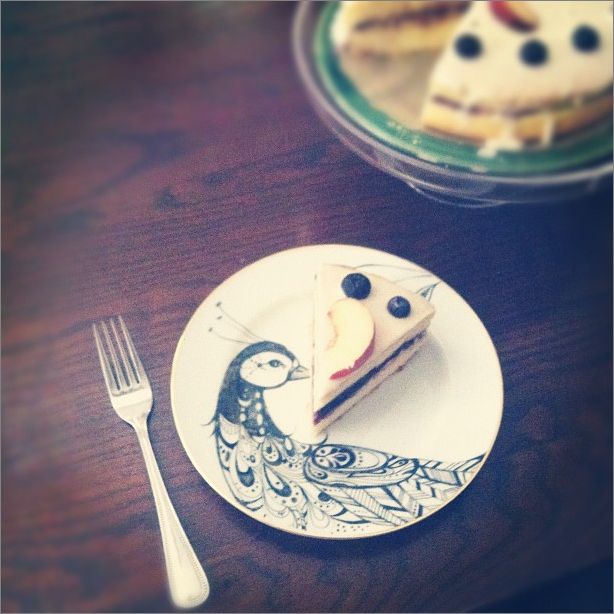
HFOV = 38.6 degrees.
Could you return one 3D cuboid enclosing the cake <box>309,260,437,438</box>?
[{"bbox_3d":[0.079,0.069,1.468,0.227,0.124,0.266,25,65,16],"label":"cake"}]
